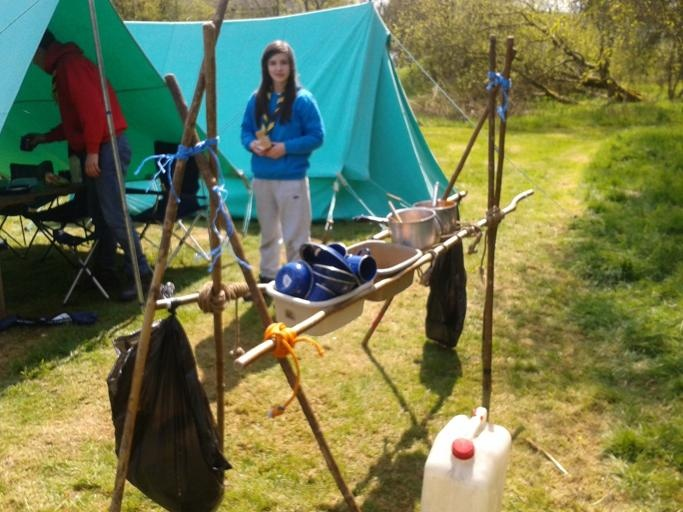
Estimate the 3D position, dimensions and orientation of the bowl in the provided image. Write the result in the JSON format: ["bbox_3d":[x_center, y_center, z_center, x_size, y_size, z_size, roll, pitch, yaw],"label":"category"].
[{"bbox_3d":[-0.142,0.084,4.455,0.395,0.344,0.208,-14,18,29],"label":"bowl"}]

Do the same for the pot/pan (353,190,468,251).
[{"bbox_3d":[0.514,-0.251,4.947,0.565,0.255,0.363,-28,22,-10],"label":"pot/pan"}]

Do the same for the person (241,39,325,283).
[{"bbox_3d":[-0.495,-0.726,6.229,0.670,2.016,0.400,1,14,0],"label":"person"}]

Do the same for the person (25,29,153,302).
[{"bbox_3d":[-2.132,-0.764,6.427,1.211,2.213,0.584,10,16,31],"label":"person"}]
